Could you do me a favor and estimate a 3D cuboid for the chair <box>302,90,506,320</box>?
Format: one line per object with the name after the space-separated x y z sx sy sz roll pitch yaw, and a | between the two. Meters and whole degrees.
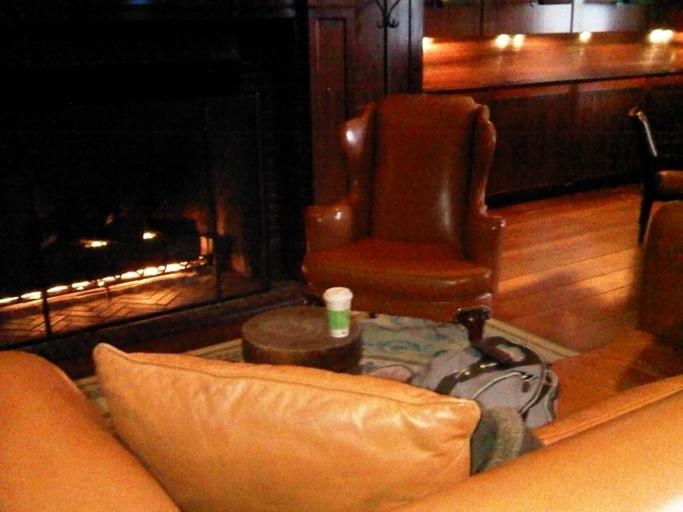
0.344 -0.157 2.525 0.861 1.048 0.776 10 28 27 | chair
